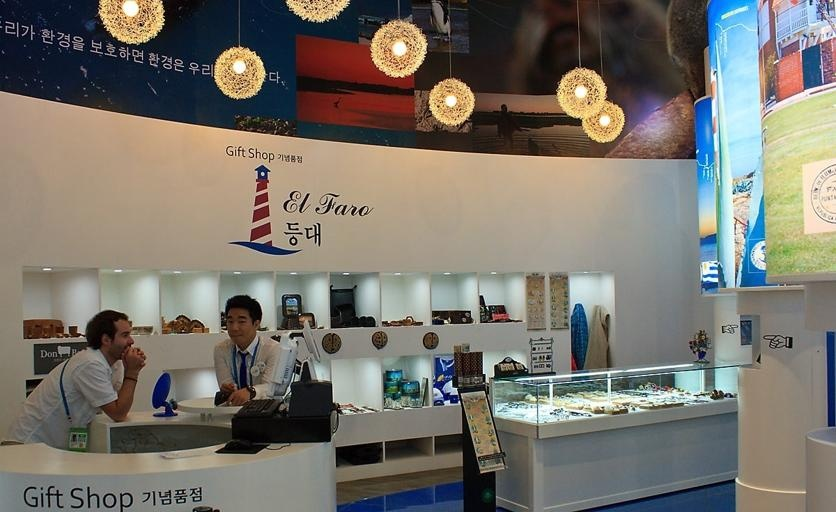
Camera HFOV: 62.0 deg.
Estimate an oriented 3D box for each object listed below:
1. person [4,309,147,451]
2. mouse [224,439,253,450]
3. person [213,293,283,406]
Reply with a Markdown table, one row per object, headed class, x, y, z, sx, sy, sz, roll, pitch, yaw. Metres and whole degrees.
| class | x | y | z | sx | sy | sz | roll | pitch | yaw |
| --- | --- | --- | --- | --- | --- | --- | --- | --- | --- |
| person | -3.611 | 1.304 | 7.428 | 1.269 | 1.425 | 0.482 | 0 | -8 | -28 |
| mouse | -1.730 | 1.813 | 6.744 | 0.178 | 0.059 | 0.108 | -2 | 0 | -5 |
| person | -2.013 | 1.053 | 8.125 | 0.764 | 1.287 | 1.316 | -2 | -8 | -13 |
